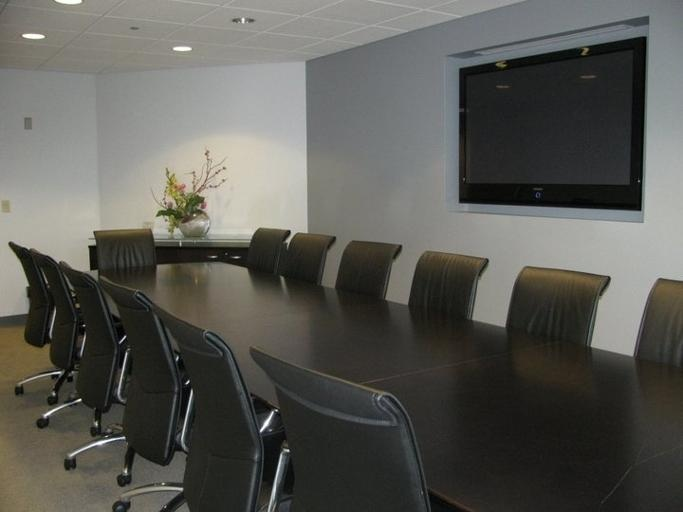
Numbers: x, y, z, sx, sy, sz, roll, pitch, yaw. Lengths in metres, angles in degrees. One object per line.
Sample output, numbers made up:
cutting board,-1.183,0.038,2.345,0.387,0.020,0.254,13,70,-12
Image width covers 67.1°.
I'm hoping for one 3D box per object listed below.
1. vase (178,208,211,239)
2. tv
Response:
vase,-1.857,-0.401,6.579,0.321,0.357,0.333,1,1,38
tv,1.988,-1.239,4.738,0.119,1.286,1.584,-5,7,-40
